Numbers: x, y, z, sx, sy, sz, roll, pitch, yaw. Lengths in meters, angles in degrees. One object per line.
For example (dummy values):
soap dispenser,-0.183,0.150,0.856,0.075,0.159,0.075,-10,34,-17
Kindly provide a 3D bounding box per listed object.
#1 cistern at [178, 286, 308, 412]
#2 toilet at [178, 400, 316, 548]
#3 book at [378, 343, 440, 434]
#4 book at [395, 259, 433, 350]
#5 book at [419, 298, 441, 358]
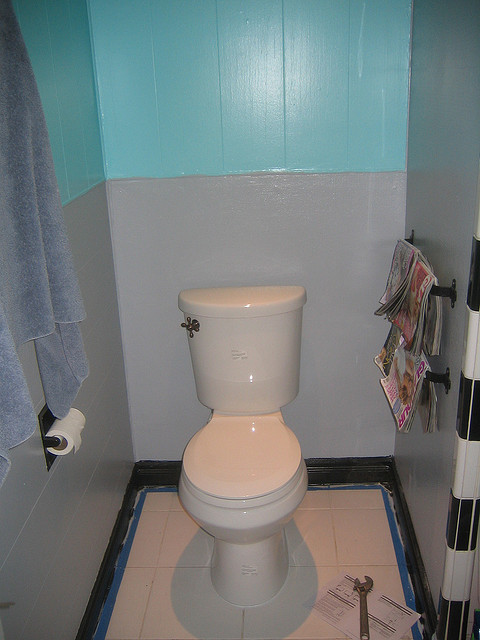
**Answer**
cistern,0.021,0.178,1.727,0.506,0.590,0.364,0,31,-1
toilet,-0.003,0.449,1.574,0.362,0.321,0.760,-4,25,-3
book,0.471,0.179,1.242,0.078,0.221,0.263,-4,23,9
book,0.436,-0.039,1.117,0.021,0.243,0.213,7,0,10
book,0.439,0.018,1.039,0.038,0.150,0.031,-5,17,13
